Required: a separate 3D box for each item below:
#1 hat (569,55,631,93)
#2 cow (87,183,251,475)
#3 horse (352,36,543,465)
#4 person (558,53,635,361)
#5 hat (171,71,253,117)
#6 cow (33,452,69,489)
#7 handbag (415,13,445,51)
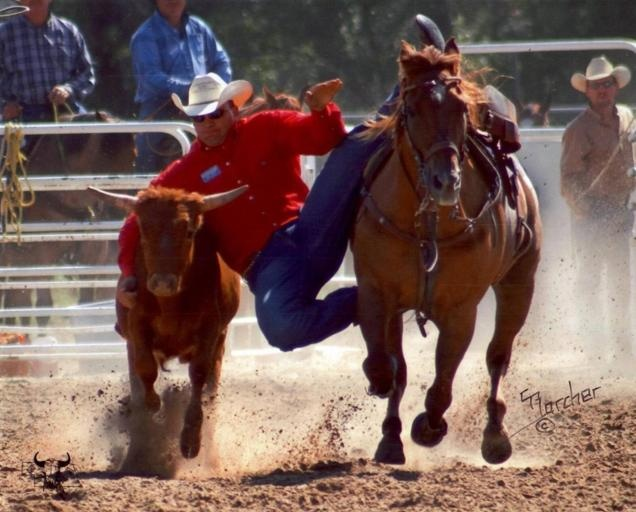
[{"bbox_3d":[2.097,-1.336,12.036,0.431,0.273,0.213,4,9,10],"label":"hat"},{"bbox_3d":[-0.899,0.534,10.740,0.889,1.894,1.342,0,53,-2],"label":"cow"},{"bbox_3d":[0.821,0.227,10.526,0.979,2.959,2.096,3,57,7],"label":"horse"},{"bbox_3d":[2.130,-0.365,12.179,0.638,2.175,0.345,6,9,22],"label":"person"},{"bbox_3d":[-0.734,-1.063,10.797,0.564,0.253,0.617,-11,-1,33],"label":"hat"},{"bbox_3d":[-1.690,1.370,10.258,0.153,0.261,0.142,2,50,-8],"label":"cow"},{"bbox_3d":[0.679,-1.366,9.923,0.056,0.252,0.150,-37,19,37],"label":"handbag"}]
